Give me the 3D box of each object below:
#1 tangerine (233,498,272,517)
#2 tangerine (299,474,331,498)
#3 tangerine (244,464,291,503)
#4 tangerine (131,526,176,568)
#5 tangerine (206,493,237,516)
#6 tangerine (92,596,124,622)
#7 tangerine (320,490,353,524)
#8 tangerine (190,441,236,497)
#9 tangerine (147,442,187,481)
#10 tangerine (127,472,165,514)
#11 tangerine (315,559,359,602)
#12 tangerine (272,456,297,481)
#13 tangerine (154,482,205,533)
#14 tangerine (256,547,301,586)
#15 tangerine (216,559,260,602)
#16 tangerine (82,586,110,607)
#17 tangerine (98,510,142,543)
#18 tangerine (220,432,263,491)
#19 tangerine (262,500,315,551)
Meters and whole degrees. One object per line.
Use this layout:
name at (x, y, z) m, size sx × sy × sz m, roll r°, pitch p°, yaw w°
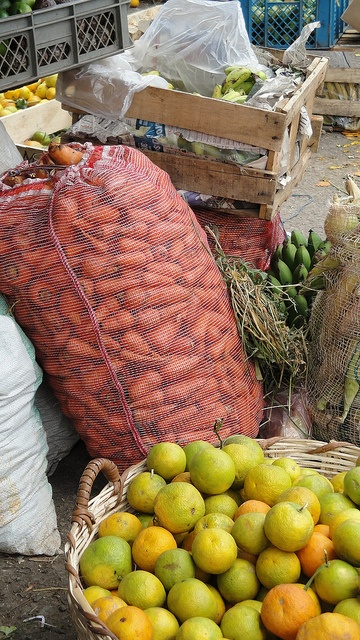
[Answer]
tangerine at (0.151, 0.369, 1.056) m, size 0.047 × 0.046 × 0.043 m, roll -2°, pitch 5°, yaw -22°
tangerine at (0.300, 0.372, 1.180) m, size 0.051 × 0.058 × 0.050 m, roll -6°, pitch -2°, yaw 0°
tangerine at (0.181, 0.349, 1.153) m, size 0.077 × 0.080 × 0.083 m, roll -28°, pitch -11°, yaw 32°
tangerine at (-0.057, 0.448, 1.034) m, size 0.087 × 0.098 × 0.082 m, roll 3°, pitch -16°, yaw -10°
tangerine at (0.088, 0.400, 1.123) m, size 0.046 × 0.053 × 0.045 m, roll -2°, pitch 5°, yaw 1°
tangerine at (-0.126, 0.493, 0.892) m, size 0.043 × 0.036 × 0.037 m, roll 20°, pitch 54°, yaw 42°
tangerine at (0.324, 0.397, 1.116) m, size 0.062 × 0.072 × 0.061 m, roll -7°, pitch -14°, yaw 0°
tangerine at (0.059, 0.319, 1.119) m, size 0.074 × 0.085 × 0.075 m, roll -27°, pitch -9°, yaw 20°
tangerine at (-0.036, 0.332, 1.240) m, size 0.089 × 0.084 × 0.082 m, roll -1°, pitch 6°, yaw -10°
tangerine at (-0.078, 0.395, 1.239) m, size 0.095 × 0.114 × 0.097 m, roll -2°, pitch -5°, yaw 6°
tangerine at (0.270, 0.451, 0.899) m, size 0.054 × 0.063 × 0.053 m, roll -43°, pitch 2°, yaw 13°
tangerine at (0.247, 0.356, 1.271) m, size 0.059 × 0.060 × 0.060 m, roll -8°, pitch 43°, yaw 13°
tangerine at (-0.001, 0.378, 1.109) m, size 0.097 × 0.102 × 0.114 m, roll -22°, pitch -34°, yaw -13°
tangerine at (0.174, 0.434, 0.959) m, size 0.067 × 0.076 × 0.070 m, roll 8°, pitch 36°, yaw 10°
tangerine at (0.106, 0.487, 0.960) m, size 0.074 × 0.086 × 0.075 m, roll -2°, pitch -6°, yaw -6°
tangerine at (-0.158, 0.503, 0.964) m, size 0.033 × 0.039 × 0.033 m, roll -31°, pitch 29°, yaw 59°
tangerine at (-0.125, 0.439, 1.131) m, size 0.065 × 0.072 × 0.061 m, roll -5°, pitch 3°, yaw 33°
tangerine at (0.159, 0.325, 1.225) m, size 0.072 × 0.084 × 0.072 m, roll -16°, pitch -8°, yaw 25°
tangerine at (0.186, 0.355, 0.946) m, size 0.087 × 0.101 × 0.083 m, roll -4°, pitch 13°, yaw -4°
